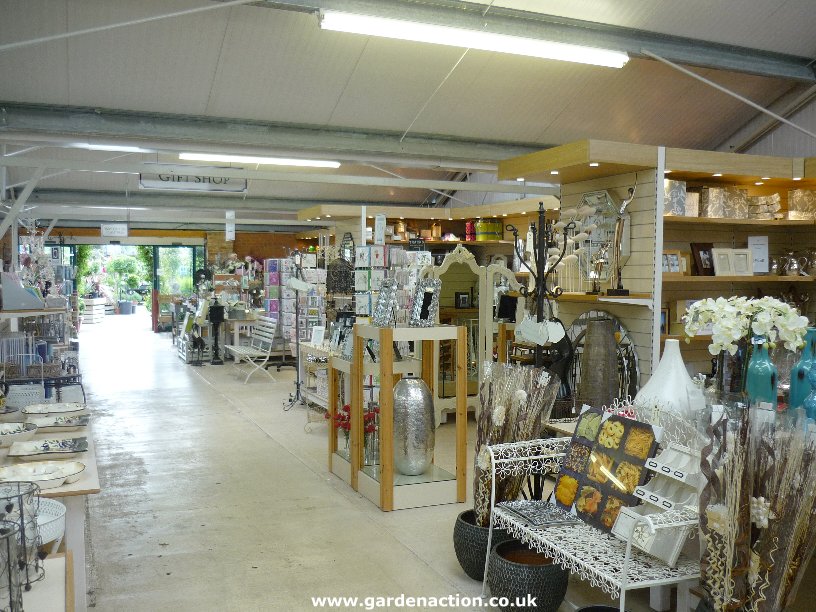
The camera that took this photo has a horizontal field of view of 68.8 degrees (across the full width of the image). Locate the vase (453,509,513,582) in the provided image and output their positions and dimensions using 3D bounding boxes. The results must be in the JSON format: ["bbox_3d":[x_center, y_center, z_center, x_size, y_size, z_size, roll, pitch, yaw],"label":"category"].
[{"bbox_3d":[0.467,1.583,4.050,0.434,0.330,0.435,3,-1,-12],"label":"vase"}]

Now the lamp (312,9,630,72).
[{"bbox_3d":[0.730,-2.736,6.066,3.290,0.238,0.254,-2,4,-23],"label":"lamp"}]

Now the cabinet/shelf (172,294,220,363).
[{"bbox_3d":[-5.057,0.578,14.294,0.709,1.253,1.709,0,1,-28],"label":"cabinet/shelf"}]

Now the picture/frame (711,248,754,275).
[{"bbox_3d":[3.254,-0.435,5.947,0.538,0.271,0.177,-2,5,-29],"label":"picture/frame"}]

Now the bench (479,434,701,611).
[{"bbox_3d":[0.956,1.368,3.446,0.635,0.953,1.249,-2,5,-24],"label":"bench"}]

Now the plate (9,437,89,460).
[{"bbox_3d":[-2.013,0.790,3.332,0.236,0.037,0.158,-1,7,-20],"label":"plate"}]

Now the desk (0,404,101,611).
[{"bbox_3d":[-1.742,0.962,2.898,0.348,0.433,1.259,1,0,-29],"label":"desk"}]

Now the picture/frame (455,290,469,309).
[{"bbox_3d":[0.795,-0.100,8.747,0.292,0.259,0.208,1,3,1],"label":"picture/frame"}]

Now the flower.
[{"bbox_3d":[2.046,0.152,3.589,0.670,0.522,0.526,1,3,-23],"label":"flower"}]

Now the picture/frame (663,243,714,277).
[{"bbox_3d":[2.734,-0.441,5.811,0.414,0.315,0.138,0,-4,-21],"label":"picture/frame"}]

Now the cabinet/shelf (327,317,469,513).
[{"bbox_3d":[-0.140,0.977,5.849,0.964,1.498,1.643,1,-3,-23],"label":"cabinet/shelf"}]

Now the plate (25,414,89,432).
[{"bbox_3d":[-2.234,0.750,3.836,0.248,0.041,0.165,-1,5,-22],"label":"plate"}]

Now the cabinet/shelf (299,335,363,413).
[{"bbox_3d":[-0.913,0.807,6.999,0.400,0.698,1.279,0,1,-20],"label":"cabinet/shelf"}]
